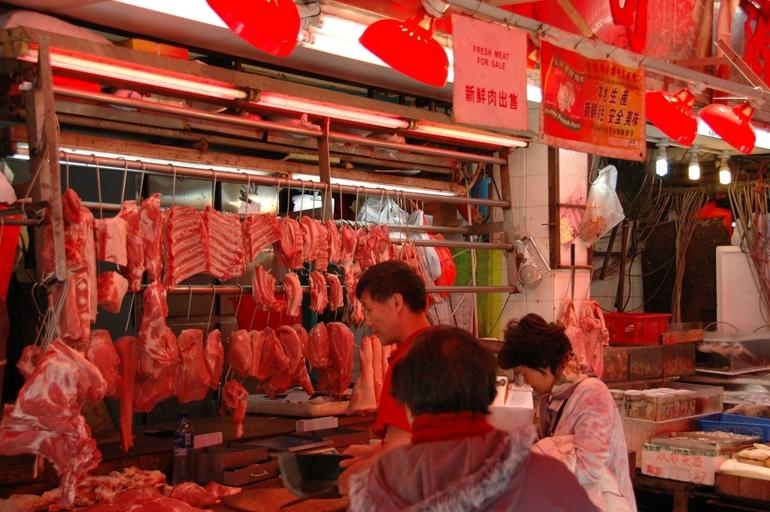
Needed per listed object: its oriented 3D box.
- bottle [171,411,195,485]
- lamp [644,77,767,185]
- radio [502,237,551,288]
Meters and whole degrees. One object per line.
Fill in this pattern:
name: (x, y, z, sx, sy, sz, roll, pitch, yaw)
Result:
bottle: (-1.354, 1.283, 3.959, 0.133, 0.452, 0.304, 1, -3, -19)
lamp: (3.886, -1.518, 7.188, 1.371, 0.808, 0.487, 13, 13, -26)
radio: (1.521, 0.101, 6.320, 0.205, 0.574, 0.564, -33, 31, 15)
